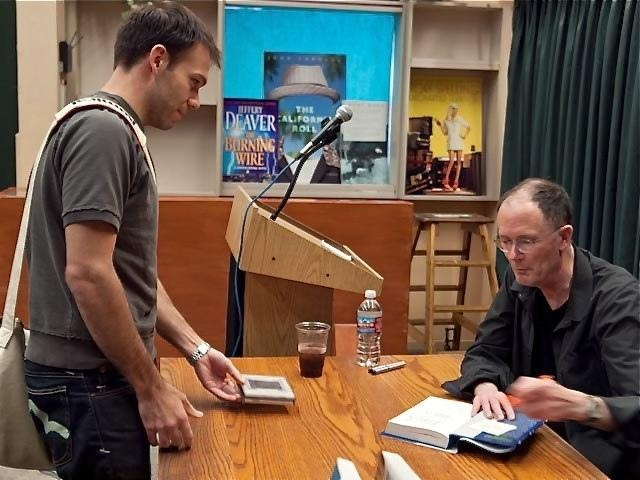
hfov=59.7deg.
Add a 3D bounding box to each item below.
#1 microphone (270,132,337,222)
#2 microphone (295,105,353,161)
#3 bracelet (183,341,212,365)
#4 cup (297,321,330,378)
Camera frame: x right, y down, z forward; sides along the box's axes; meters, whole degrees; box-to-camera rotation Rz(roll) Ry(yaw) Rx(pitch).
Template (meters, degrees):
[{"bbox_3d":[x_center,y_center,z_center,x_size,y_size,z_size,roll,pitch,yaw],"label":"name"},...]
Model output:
[{"bbox_3d":[-0.128,-0.407,3.645,0.088,0.701,0.183,25,8,-5],"label":"microphone"},{"bbox_3d":[0.005,-0.465,2.380,0.222,0.210,0.255,-1,13,-9],"label":"microphone"},{"bbox_3d":[-0.403,0.372,1.851,0.066,0.072,0.071,44,-4,10],"label":"bracelet"},{"bbox_3d":[-0.026,0.381,1.968,0.148,0.206,0.156,1,-7,0],"label":"cup"}]
